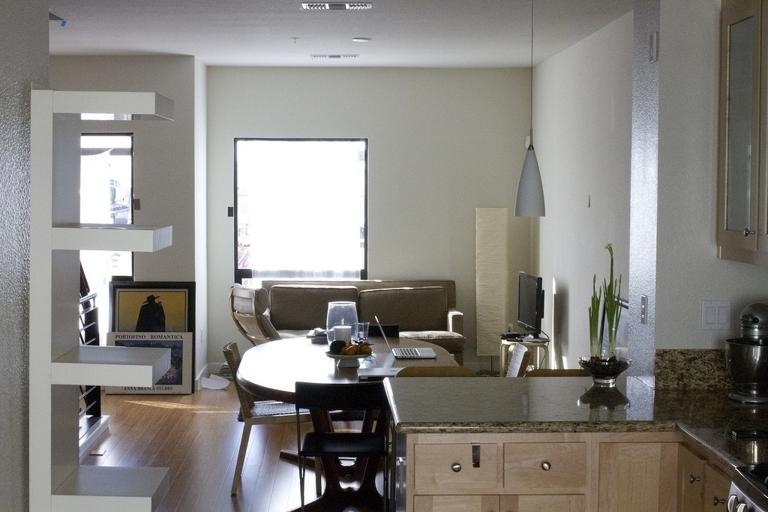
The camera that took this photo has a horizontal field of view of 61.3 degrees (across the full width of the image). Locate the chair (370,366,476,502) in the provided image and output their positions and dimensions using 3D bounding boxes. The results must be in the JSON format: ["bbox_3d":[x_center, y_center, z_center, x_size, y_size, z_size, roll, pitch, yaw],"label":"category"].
[{"bbox_3d":[0.317,1.029,4.108,0.609,0.979,0.655,0,-12,2],"label":"chair"}]

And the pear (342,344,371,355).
[{"bbox_3d":[-0.173,0.610,4.286,0.126,0.054,0.082,-3,0,-2],"label":"pear"}]

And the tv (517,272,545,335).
[{"bbox_3d":[1.513,0.482,6.631,0.221,0.683,0.685,-1,1,-5],"label":"tv"}]
